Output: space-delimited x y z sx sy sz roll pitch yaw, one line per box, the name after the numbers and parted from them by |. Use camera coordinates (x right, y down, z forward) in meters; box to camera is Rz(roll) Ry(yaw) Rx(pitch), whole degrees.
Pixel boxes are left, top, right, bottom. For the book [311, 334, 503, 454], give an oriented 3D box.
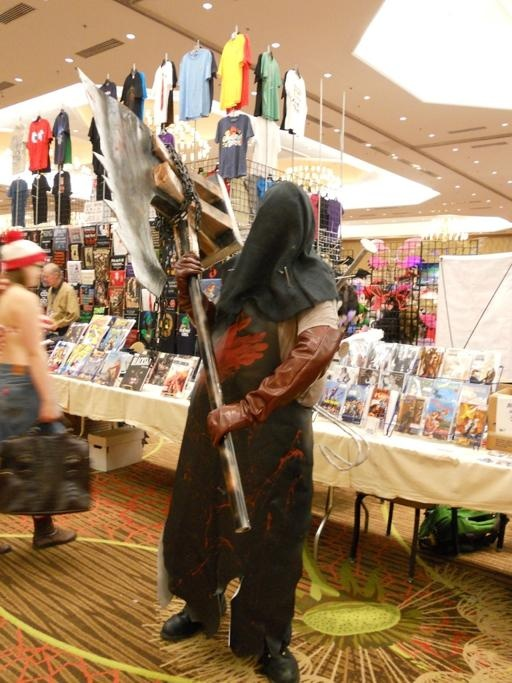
0.785 0.245 2.707 0.621 0.254 0.857 -19 27 -40 | book

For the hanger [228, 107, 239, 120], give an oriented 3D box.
-0.276 -2.770 6.218 0.127 0.062 0.175 -4 12 -9 | hanger

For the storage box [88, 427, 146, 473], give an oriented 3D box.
-1.141 0.866 4.159 0.235 0.263 0.401 3 2 33 | storage box

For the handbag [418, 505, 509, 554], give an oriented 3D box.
1.144 1.059 2.861 0.375 0.202 0.473 -1 -10 32 | handbag
